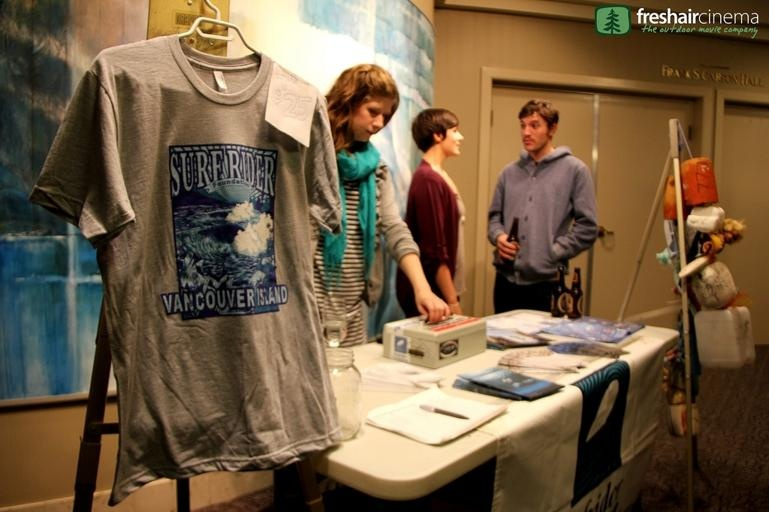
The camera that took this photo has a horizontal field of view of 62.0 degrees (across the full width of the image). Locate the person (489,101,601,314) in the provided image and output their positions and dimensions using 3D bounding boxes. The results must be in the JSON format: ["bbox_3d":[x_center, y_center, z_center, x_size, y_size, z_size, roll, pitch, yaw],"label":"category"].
[{"bbox_3d":[1.006,-0.314,4.150,0.664,1.375,0.495,-1,4,9],"label":"person"}]

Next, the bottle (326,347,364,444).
[{"bbox_3d":[-0.144,0.494,2.326,0.116,0.318,0.097,-4,4,-34],"label":"bottle"}]
